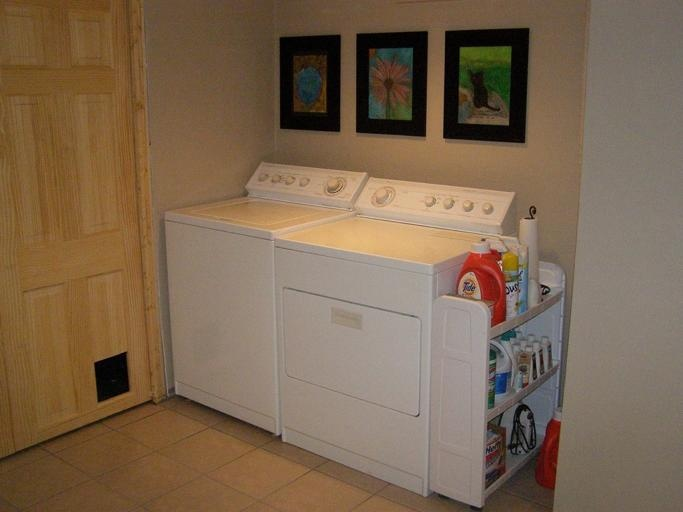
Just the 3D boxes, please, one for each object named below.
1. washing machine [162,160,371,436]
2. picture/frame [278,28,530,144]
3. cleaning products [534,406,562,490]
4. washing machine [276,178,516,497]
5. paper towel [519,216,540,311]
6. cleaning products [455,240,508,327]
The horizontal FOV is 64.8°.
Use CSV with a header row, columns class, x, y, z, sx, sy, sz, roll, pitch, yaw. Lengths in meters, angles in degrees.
class,x,y,z,sx,sy,sz,roll,pitch,yaw
washing machine,-0.465,0.136,3.214,1.004,1.291,1.024,5,16,11
picture/frame,0.301,-0.976,3.069,1.529,0.568,0.088,11,18,28
cleaning products,0.964,0.929,2.532,0.120,0.332,0.123,17,-6,-31
washing machine,0.287,0.325,2.861,1.069,1.338,1.090,5,15,17
paper towel,0.880,0.030,2.486,0.096,0.406,0.080,10,16,32
cleaning products,0.605,0.129,2.348,0.226,0.351,0.137,7,9,36
